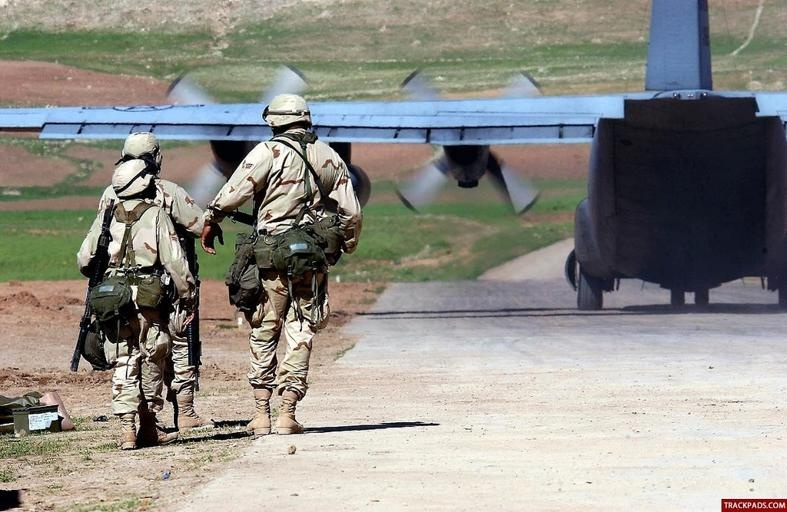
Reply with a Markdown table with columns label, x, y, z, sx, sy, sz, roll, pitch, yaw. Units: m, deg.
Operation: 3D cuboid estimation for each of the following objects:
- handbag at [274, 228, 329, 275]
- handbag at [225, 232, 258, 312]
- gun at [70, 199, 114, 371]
| label | x | y | z | sx | sy | sz | roll | pitch | yaw |
| --- | --- | --- | --- | --- | --- | --- | --- | --- | --- |
| handbag | -2.066 | -0.129 | 37.286 | 0.787 | 1.148 | 0.918 | 0 | 0 | -6 |
| handbag | -3.310 | 0.371 | 37.455 | 0.772 | 1.680 | 0.764 | 1 | -1 | -8 |
| gun | -6.649 | 0.713 | 37.555 | 1.126 | 3.592 | 0.957 | 3 | -1 | -16 |
